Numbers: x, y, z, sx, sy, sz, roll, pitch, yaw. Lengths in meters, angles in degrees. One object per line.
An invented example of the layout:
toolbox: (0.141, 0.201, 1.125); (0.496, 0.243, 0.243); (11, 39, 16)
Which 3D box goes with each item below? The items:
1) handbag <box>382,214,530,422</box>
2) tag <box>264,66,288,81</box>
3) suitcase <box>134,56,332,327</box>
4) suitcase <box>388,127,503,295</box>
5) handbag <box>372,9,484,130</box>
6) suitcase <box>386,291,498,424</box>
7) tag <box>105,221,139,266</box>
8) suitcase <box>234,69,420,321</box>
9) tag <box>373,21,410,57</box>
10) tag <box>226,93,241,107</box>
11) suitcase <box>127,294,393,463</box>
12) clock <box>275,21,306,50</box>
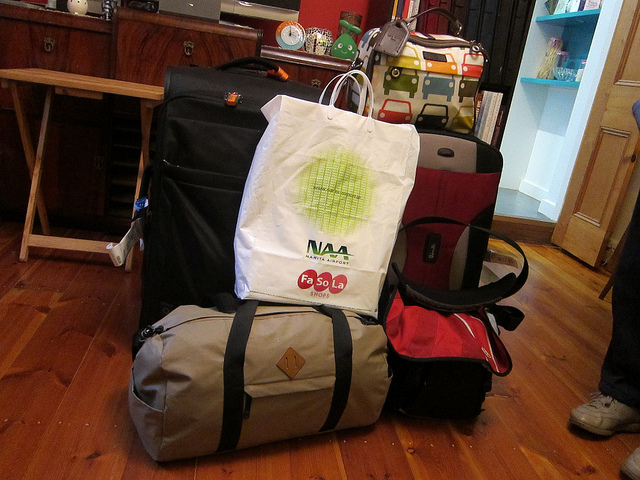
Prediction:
handbag: (0.494, 0.280, 1.942); (0.489, 0.764, 0.565); (3, 5, -9)
tag: (-0.161, -0.668, 2.039); (0.064, 0.031, 0.071); (5, -2, -9)
suitcase: (-0.378, -0.082, 2.177); (0.807, 1.344, 0.679); (7, 6, -18)
suitcase: (0.505, -0.148, 2.188); (0.430, 0.732, 0.363); (11, 21, 19)
handbag: (0.442, -0.699, 2.116); (0.494, 0.552, 0.291); (6, 4, -7)
suitcase: (0.472, 0.450, 1.910); (0.396, 0.519, 0.392); (6, -23, 3)
tag: (-0.714, 0.008, 1.880); (0.045, 0.090, 0.215); (-11, 34, 12)
suitcase: (0.013, -0.144, 1.763); (0.591, 0.903, 0.298); (16, 4, -12)
tag: (0.274, -0.775, 1.937); (0.140, 0.128, 0.098); (5, 20, -2)
tag: (-0.310, -0.505, 1.817); (0.049, 0.039, 0.067); (5, 33, 1)
suitcase: (-0.160, 0.334, 1.753); (0.871, 0.695, 0.396); (-3, 19, -23)
clock: (-0.182, -1.282, 3.269); (0.178, 0.217, 0.192); (2, 11, 4)
